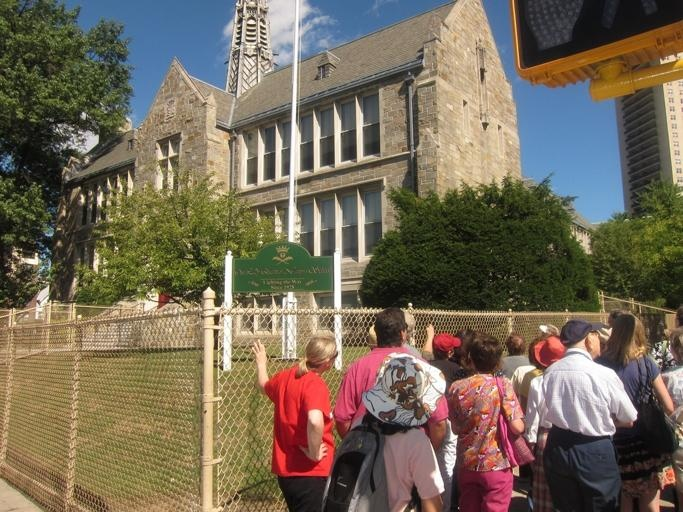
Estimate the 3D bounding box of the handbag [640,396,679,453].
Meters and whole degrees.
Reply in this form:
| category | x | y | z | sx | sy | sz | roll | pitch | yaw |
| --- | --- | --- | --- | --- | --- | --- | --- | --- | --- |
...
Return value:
| category | x | y | z | sx | sy | sz | roll | pitch | yaw |
| --- | --- | --- | --- | --- | --- | --- | --- | --- | --- |
| handbag | 3.061 | 1.635 | 6.185 | 0.276 | 0.652 | 0.473 | -19 | -17 | 20 |

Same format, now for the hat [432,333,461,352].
| category | x | y | z | sx | sy | sz | roll | pitch | yaw |
| --- | --- | --- | --- | --- | --- | --- | --- | --- | --- |
| hat | 1.213 | 0.977 | 7.315 | 0.238 | 0.121 | 0.176 | 1 | 7 | -34 |

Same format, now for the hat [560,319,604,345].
| category | x | y | z | sx | sy | sz | roll | pitch | yaw |
| --- | --- | --- | --- | --- | --- | --- | --- | --- | --- |
| hat | 2.302 | 0.718 | 6.133 | 0.383 | 0.210 | 0.247 | -32 | 5 | -22 |
